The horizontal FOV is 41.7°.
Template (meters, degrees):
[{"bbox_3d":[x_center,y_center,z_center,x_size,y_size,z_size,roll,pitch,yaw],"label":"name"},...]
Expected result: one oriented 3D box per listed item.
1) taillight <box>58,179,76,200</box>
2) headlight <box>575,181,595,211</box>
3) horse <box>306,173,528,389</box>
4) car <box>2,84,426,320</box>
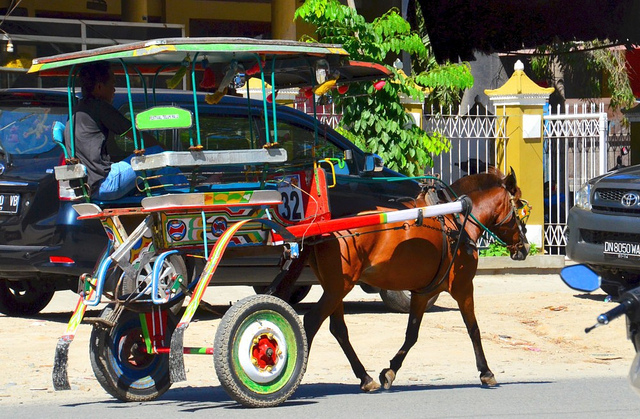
[{"bbox_3d":[-2.796,-0.228,9.258,0.213,0.140,0.218,-7,-30,9],"label":"taillight"},{"bbox_3d":[4.215,-0.202,13.442,0.275,0.401,0.139,8,7,40],"label":"headlight"},{"bbox_3d":[1.078,0.852,9.616,3.223,2.611,0.774,4,-6,-26],"label":"horse"},{"bbox_3d":[-1.457,-0.261,11.330,5.266,2.300,2.893,-4,3,-24],"label":"car"}]
